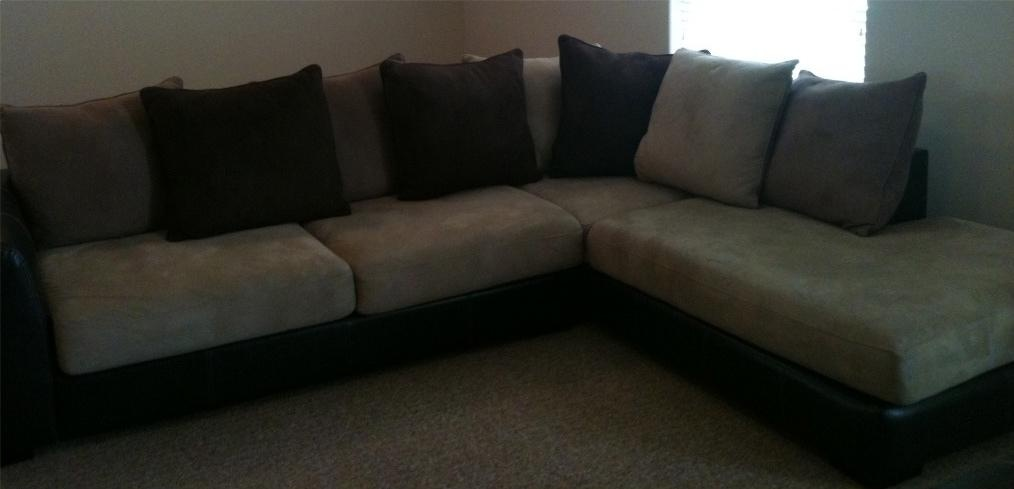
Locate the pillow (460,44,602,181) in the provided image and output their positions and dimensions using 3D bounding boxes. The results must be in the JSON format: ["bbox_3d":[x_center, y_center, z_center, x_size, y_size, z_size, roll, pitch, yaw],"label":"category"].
[{"bbox_3d":[0.175,-0.928,5.028,0.904,0.711,0.334,-4,0,18],"label":"pillow"}]
